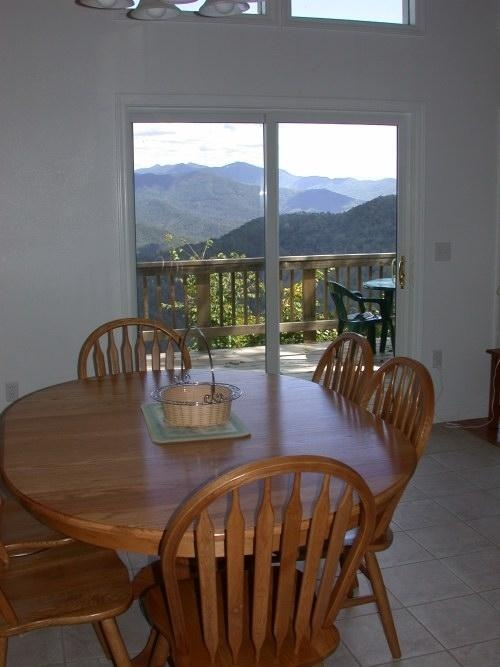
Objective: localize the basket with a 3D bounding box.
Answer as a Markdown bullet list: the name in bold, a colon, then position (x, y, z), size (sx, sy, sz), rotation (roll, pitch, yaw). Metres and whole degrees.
- **basket**: position (-0.146, 0.147, 1.774), size (0.294, 0.317, 0.336), rotation (-10, 19, -29)
